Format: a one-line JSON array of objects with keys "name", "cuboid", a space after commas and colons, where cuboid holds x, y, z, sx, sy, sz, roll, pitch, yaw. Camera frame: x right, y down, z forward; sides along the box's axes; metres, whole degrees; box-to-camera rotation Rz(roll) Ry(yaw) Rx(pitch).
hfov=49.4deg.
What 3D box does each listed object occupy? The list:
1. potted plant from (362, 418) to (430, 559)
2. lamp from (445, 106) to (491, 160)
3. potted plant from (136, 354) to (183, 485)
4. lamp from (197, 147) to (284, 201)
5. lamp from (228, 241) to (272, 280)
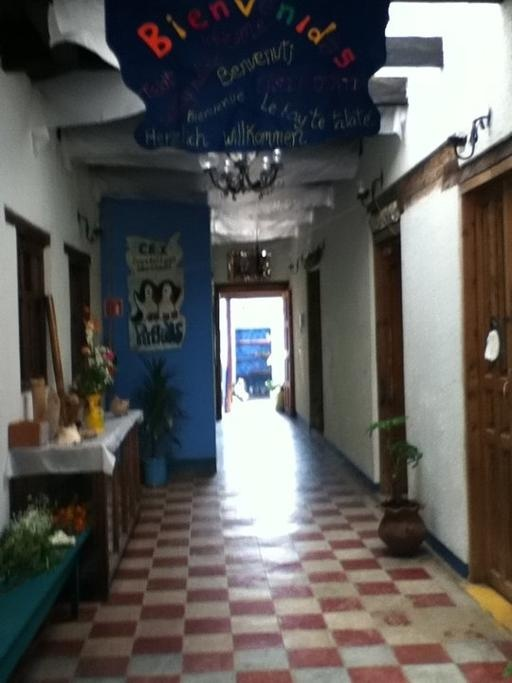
[{"name": "potted plant", "cuboid": [0.865, 0.881, 3.430, 0.252, 0.874, 0.266, -1, -4, -1]}, {"name": "lamp", "cuboid": [1.034, -1.016, 2.703, 0.239, 0.075, 0.228, -50, 7, -29]}, {"name": "potted plant", "cuboid": [-0.937, 0.775, 5.500, 0.450, 1.219, 0.420, -1, 0, -16]}, {"name": "lamp", "cuboid": [-0.099, -1.194, 3.793, 0.465, 0.346, 0.450, 2, 10, 31]}, {"name": "lamp", "cuboid": [-0.014, -1.251, 9.076, 0.819, 0.630, 0.587, -12, 20, -42]}]
